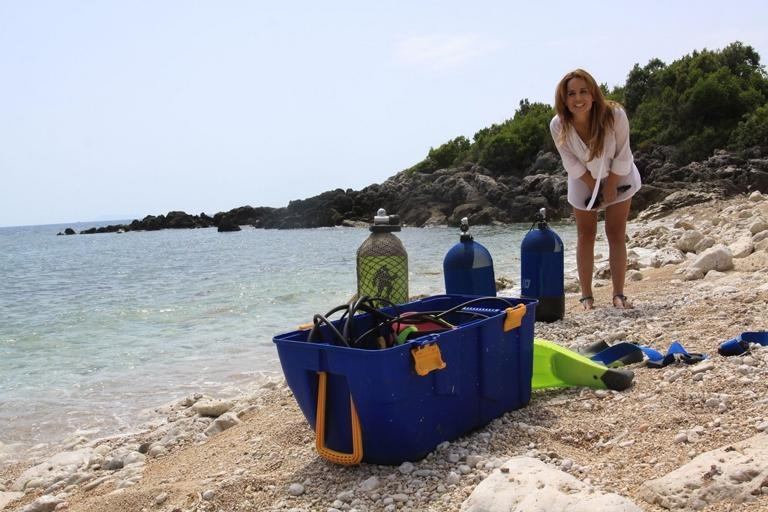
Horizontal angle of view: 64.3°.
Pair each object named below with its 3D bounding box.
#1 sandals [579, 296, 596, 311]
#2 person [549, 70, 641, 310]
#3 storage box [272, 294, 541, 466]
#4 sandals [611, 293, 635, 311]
[{"bbox_3d":[2.196,0.530,6.663,0.075,0.101,0.238,17,-21,29],"label":"sandals"},{"bbox_3d":[2.216,-0.644,6.317,0.790,2.484,0.787,-10,9,20],"label":"person"},{"bbox_3d":[0.245,0.706,4.260,1.147,0.739,1.632,-2,5,42],"label":"storage box"},{"bbox_3d":[2.482,0.492,6.392,0.147,0.150,0.342,-6,-7,20],"label":"sandals"}]
